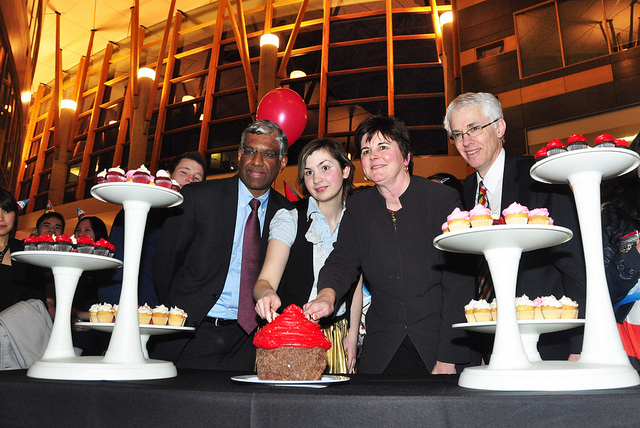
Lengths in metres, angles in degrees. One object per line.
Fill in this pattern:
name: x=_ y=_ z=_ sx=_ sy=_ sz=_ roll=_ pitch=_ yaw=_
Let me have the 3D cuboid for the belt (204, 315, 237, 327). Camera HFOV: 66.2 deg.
belt: x=-0.699 y=0.750 z=3.432 sx=0.222 sy=0.070 sz=0.017 roll=-1 pitch=-3 yaw=-8

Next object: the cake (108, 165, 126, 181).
cake: x=-1.108 y=-0.198 z=2.686 sx=0.083 sy=0.082 sz=0.084 roll=-7 pitch=-13 yaw=45

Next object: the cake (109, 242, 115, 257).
cake: x=-1.274 y=0.227 z=2.996 sx=0.027 sy=0.083 sz=0.244 roll=0 pitch=-3 yaw=-21

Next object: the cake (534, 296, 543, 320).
cake: x=1.232 y=0.539 z=2.781 sx=0.049 sy=0.105 sz=0.140 roll=-3 pitch=-3 yaw=23

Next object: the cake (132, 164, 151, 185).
cake: x=-0.969 y=-0.196 z=2.736 sx=0.107 sy=0.118 sz=0.108 roll=-8 pitch=-9 yaw=40

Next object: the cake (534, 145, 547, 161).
cake: x=1.160 y=-0.315 z=2.637 sx=0.083 sy=0.081 sz=0.065 roll=-2 pitch=1 yaw=9

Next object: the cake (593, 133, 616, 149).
cake: x=1.459 y=-0.364 z=2.535 sx=0.097 sy=0.077 sz=0.114 roll=-2 pitch=-3 yaw=20

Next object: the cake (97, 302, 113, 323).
cake: x=-1.376 y=0.644 z=3.203 sx=0.116 sy=0.132 sz=0.116 roll=1 pitch=-2 yaw=2

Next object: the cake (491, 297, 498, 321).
cake: x=0.985 y=0.546 z=2.806 sx=0.025 sy=0.108 sz=0.227 roll=-3 pitch=-3 yaw=22

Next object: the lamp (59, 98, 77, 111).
lamp: x=-8.624 y=-3.622 z=16.854 sx=0.480 sy=0.296 sz=0.471 roll=2 pitch=-1 yaw=-16

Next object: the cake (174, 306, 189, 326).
cake: x=-0.920 y=0.669 z=3.245 sx=0.103 sy=0.101 sz=0.096 roll=6 pitch=-8 yaw=-11

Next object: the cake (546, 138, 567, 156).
cake: x=1.207 y=-0.328 z=2.539 sx=0.087 sy=0.083 sz=0.089 roll=1 pitch=1 yaw=-22

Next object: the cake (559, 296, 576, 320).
cake: x=1.387 y=0.532 z=2.752 sx=0.103 sy=0.118 sz=0.101 roll=0 pitch=-3 yaw=3

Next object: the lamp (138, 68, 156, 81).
lamp: x=-4.877 y=-3.825 z=13.769 sx=0.448 sy=0.259 sz=0.447 roll=-1 pitch=1 yaw=18

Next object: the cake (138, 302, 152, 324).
cake: x=-1.164 y=0.675 z=3.280 sx=0.079 sy=0.127 sz=0.302 roll=-1 pitch=-3 yaw=-19

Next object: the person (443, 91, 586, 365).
person: x=1.285 y=-0.115 z=3.289 sx=0.869 sy=1.476 sz=0.448 roll=-3 pitch=-3 yaw=36

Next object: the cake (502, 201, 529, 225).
cake: x=1.009 y=0.007 z=2.551 sx=0.119 sy=0.123 sz=0.121 roll=0 pitch=-1 yaw=35

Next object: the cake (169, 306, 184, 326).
cake: x=-0.948 y=0.692 z=3.289 sx=0.110 sy=0.120 sz=0.108 roll=11 pitch=-14 yaw=-22

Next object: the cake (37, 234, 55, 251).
cake: x=-1.536 y=0.163 z=2.758 sx=0.090 sy=0.064 sz=0.078 roll=-5 pitch=-10 yaw=16

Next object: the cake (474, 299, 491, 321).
cake: x=0.919 y=0.559 z=2.869 sx=0.109 sy=0.128 sz=0.107 roll=2 pitch=-3 yaw=-41

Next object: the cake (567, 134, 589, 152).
cake: x=1.321 y=-0.354 z=2.537 sx=0.093 sy=0.083 sz=0.092 roll=-1 pitch=-3 yaw=3

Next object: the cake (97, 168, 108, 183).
cake: x=-1.208 y=-0.189 z=2.718 sx=0.054 sy=0.093 sz=0.242 roll=0 pitch=-3 yaw=-23

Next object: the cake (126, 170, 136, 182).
cake: x=-1.043 y=-0.197 z=2.705 sx=0.057 sy=0.062 sz=0.019 roll=9 pitch=1 yaw=25

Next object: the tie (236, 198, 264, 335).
tie: x=-0.485 y=0.357 z=3.473 sx=0.148 sy=0.921 sz=0.265 roll=-2 pitch=-3 yaw=4

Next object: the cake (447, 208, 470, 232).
cake: x=0.732 y=0.042 z=2.621 sx=0.125 sy=0.139 sz=0.125 roll=1 pitch=-2 yaw=6

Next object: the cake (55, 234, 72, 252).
cake: x=-1.465 y=0.175 z=2.815 sx=0.081 sy=0.093 sz=0.126 roll=-1 pitch=-3 yaw=-10

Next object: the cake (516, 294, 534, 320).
cake: x=1.159 y=0.529 z=2.804 sx=0.127 sy=0.152 sz=0.131 roll=0 pitch=-1 yaw=11

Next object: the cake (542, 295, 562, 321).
cake: x=1.291 y=0.534 z=2.759 sx=0.111 sy=0.121 sz=0.109 roll=1 pitch=-2 yaw=13

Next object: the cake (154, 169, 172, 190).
cake: x=-0.879 y=-0.181 z=2.752 sx=0.105 sy=0.103 sz=0.099 roll=12 pitch=-2 yaw=-28

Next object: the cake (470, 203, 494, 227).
cake: x=0.832 y=0.016 z=2.570 sx=0.111 sy=0.109 sz=0.110 roll=-2 pitch=0 yaw=7

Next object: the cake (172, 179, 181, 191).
cake: x=-0.844 y=-0.145 z=2.865 sx=0.039 sy=0.073 sz=0.328 roll=-1 pitch=-3 yaw=-15

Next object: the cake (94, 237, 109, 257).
cake: x=-1.296 y=0.205 z=2.957 sx=0.092 sy=0.090 sz=0.088 roll=5 pitch=-13 yaw=-12

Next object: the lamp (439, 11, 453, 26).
lamp: x=3.043 y=-4.634 z=11.930 sx=0.241 sy=0.480 sz=0.492 roll=-2 pitch=-3 yaw=9

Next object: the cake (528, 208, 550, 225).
cake: x=1.110 y=0.014 z=2.519 sx=0.096 sy=0.085 sz=0.095 roll=1 pitch=2 yaw=6

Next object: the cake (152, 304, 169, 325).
cake: x=-1.069 y=0.678 z=3.294 sx=0.106 sy=0.127 sz=0.115 roll=-1 pitch=-3 yaw=-18

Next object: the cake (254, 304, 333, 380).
cake: x=-0.134 y=0.652 z=2.574 sx=0.338 sy=0.298 sz=0.337 roll=2 pitch=-7 yaw=11

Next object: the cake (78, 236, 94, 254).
cake: x=-1.371 y=0.192 z=2.922 sx=0.084 sy=0.088 sz=0.103 roll=3 pitch=5 yaw=-5
